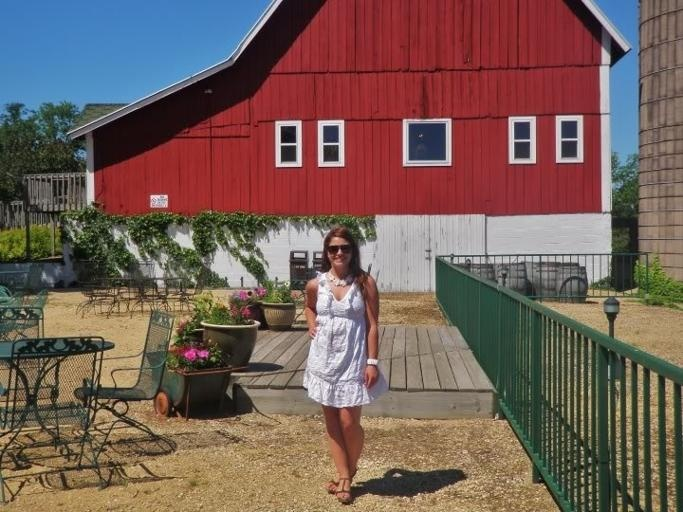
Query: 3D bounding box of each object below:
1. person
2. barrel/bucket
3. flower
[{"bbox_3d":[0.023,1.038,6.877,0.754,2.553,0.526,-1,6,2],"label":"person"},{"bbox_3d":[5.020,0.650,18.451,2.723,1.112,1.385,-4,8,-18],"label":"barrel/bucket"},{"bbox_3d":[-1.579,0.985,9.507,0.711,0.808,1.471,1,-5,9],"label":"flower"}]
